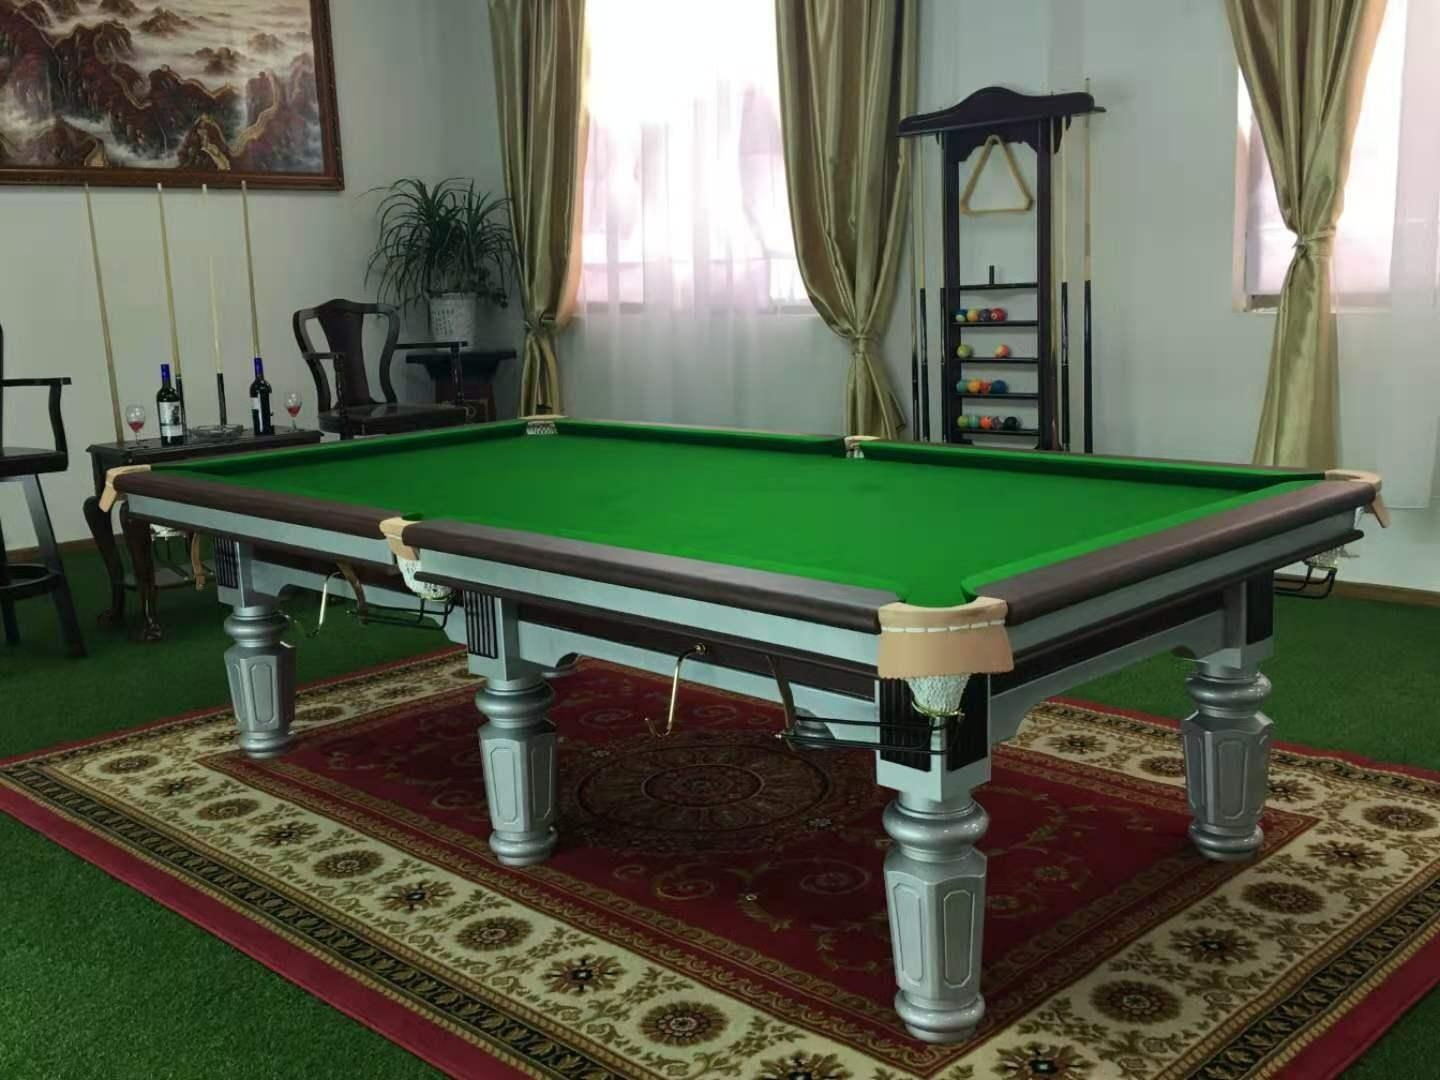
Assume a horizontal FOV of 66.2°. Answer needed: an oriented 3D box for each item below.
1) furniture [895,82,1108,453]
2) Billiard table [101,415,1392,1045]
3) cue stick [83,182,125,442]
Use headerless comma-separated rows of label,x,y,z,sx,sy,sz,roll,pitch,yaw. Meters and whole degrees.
furniture,1.301,-1.232,5.111,0.571,1.615,0.968,-18,21,-41
Billiard table,0.058,0.242,2.647,1.426,0.553,2.283,-12,10,-43
cue stick,-3.139,-1.094,5.648,0.068,1.321,0.063,-4,6,12
